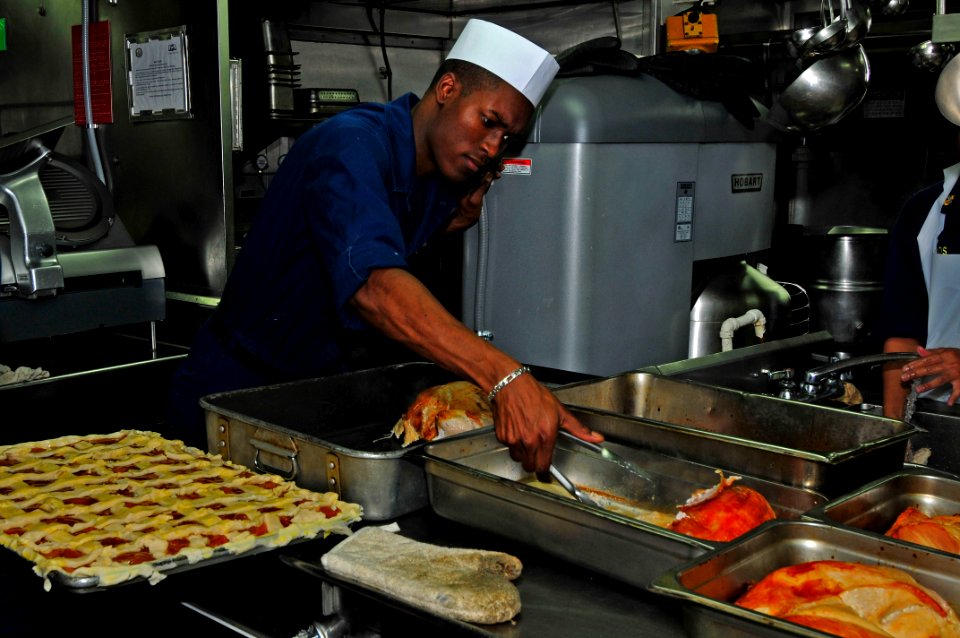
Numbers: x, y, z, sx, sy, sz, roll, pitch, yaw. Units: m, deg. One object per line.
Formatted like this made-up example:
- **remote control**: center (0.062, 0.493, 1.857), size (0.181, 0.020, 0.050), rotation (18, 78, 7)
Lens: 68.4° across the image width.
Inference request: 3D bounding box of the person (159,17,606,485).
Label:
- **person**: center (-0.222, -0.150, 1.846), size (1.357, 1.193, 0.635), rotation (11, 17, 41)

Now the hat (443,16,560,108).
- **hat**: center (0.066, -0.614, 1.684), size (0.245, 0.102, 0.224), rotation (29, 15, -5)

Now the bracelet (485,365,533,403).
- **bracelet**: center (0.057, 0.126, 1.434), size (0.073, 0.020, 0.071), rotation (-35, -2, -6)

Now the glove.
- **glove**: center (-0.112, 0.442, 1.251), size (0.236, 0.040, 0.142), rotation (12, 13, 27)

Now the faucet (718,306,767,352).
- **faucet**: center (1.045, 0.035, 2.764), size (0.291, 0.146, 0.082), rotation (-8, 14, -28)

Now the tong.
- **tong**: center (0.249, 0.296, 1.496), size (0.146, 0.050, 0.253), rotation (-38, 48, -25)
